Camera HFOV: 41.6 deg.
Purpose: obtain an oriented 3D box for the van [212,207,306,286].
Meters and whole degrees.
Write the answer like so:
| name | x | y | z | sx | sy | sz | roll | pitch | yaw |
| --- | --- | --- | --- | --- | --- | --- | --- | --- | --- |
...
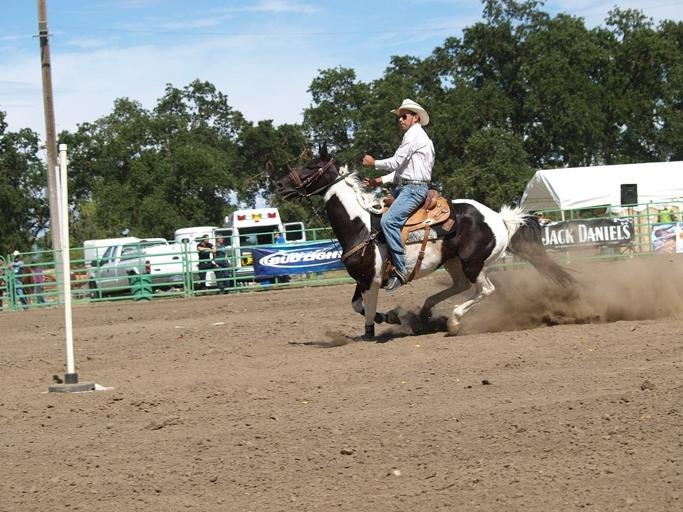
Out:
| name | x | y | z | sx | sy | sz | roll | pitch | yaw |
| --- | --- | --- | --- | --- | --- | --- | --- | --- | --- |
| van | -2.369 | -0.459 | 27.804 | 2.702 | 1.877 | 4.477 | -2 | 2 | -10 |

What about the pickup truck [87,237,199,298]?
| name | x | y | z | sx | sy | sz | roll | pitch | yaw |
| --- | --- | --- | --- | --- | --- | --- | --- | --- | --- |
| pickup truck | -5.780 | 0.369 | 26.319 | 1.937 | 1.195 | 3.945 | -8 | 0 | -39 |

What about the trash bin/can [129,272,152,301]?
| name | x | y | z | sx | sy | sz | roll | pitch | yaw |
| --- | --- | --- | --- | --- | --- | --- | --- | --- | --- |
| trash bin/can | -5.653 | 0.851 | 24.646 | 0.921 | 0.758 | 0.651 | -5 | 2 | -7 |

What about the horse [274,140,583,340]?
| name | x | y | z | sx | sy | sz | roll | pitch | yaw |
| --- | --- | --- | --- | --- | --- | --- | --- | --- | --- |
| horse | 1.241 | -0.104 | 13.711 | 5.284 | 2.398 | 1.111 | 2 | 2 | -29 |

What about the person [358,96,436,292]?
| name | x | y | z | sx | sy | sz | roll | pitch | yaw |
| --- | --- | --- | --- | --- | --- | --- | --- | --- | --- |
| person | 0.915 | -0.874 | 13.187 | 0.776 | 2.765 | 1.185 | 0 | 15 | 24 |

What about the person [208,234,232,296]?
| name | x | y | z | sx | sy | sz | roll | pitch | yaw |
| --- | --- | --- | --- | --- | --- | --- | --- | --- | --- |
| person | -3.227 | 0.287 | 24.521 | 0.467 | 1.470 | 1.089 | -8 | 13 | -7 |

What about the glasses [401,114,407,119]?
| name | x | y | z | sx | sy | sz | roll | pitch | yaw |
| --- | --- | --- | --- | --- | --- | --- | --- | --- | --- |
| glasses | 0.926 | -2.049 | 13.225 | 0.092 | 0.070 | 0.047 | -3 | 18 | 19 |

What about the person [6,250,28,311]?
| name | x | y | z | sx | sy | sz | roll | pitch | yaw |
| --- | --- | --- | --- | --- | --- | --- | --- | --- | --- |
| person | -8.526 | 0.633 | 23.924 | 0.367 | 1.580 | 0.788 | -11 | 14 | -18 |
